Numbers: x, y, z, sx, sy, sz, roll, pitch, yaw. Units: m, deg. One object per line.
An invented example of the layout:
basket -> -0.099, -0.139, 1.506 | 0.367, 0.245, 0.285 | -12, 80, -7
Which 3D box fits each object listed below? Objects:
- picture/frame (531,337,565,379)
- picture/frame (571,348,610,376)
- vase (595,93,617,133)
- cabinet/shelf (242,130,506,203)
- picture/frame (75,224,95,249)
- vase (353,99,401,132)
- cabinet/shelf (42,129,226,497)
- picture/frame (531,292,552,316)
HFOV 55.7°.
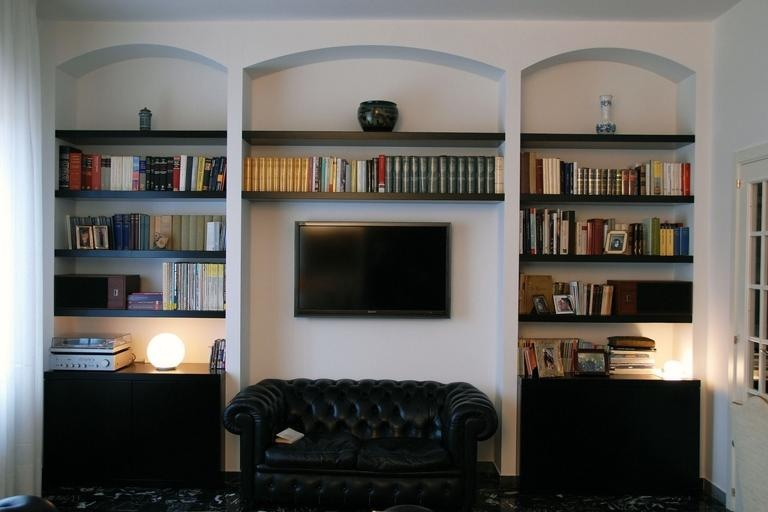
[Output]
picture/frame -> 1.525, 0.966, 6.739 | 0.323, 0.397, 0.046 | -3, -8, -2
picture/frame -> 1.932, 0.997, 6.758 | 0.238, 0.195, 0.084 | 1, -13, 1
vase -> 2.134, -1.371, 6.957 | 0.180, 0.438, 0.296 | -1, -4, 18
cabinet/shelf -> -0.079, -0.851, 6.968 | 2.663, 0.585, 0.397 | 3, 2, 20
picture/frame -> -2.827, -0.184, 6.857 | 0.241, 0.331, 0.036 | 0, 2, -2
vase -> -0.049, -1.330, 6.824 | 0.322, 0.221, 0.315 | 0, 3, -4
cabinet/shelf -> -2.308, 0.486, 6.882 | 1.669, 3.319, 0.521 | 0, -4, -1
picture/frame -> 1.472, 0.450, 6.899 | 0.240, 0.256, 0.151 | -1, -4, -7
